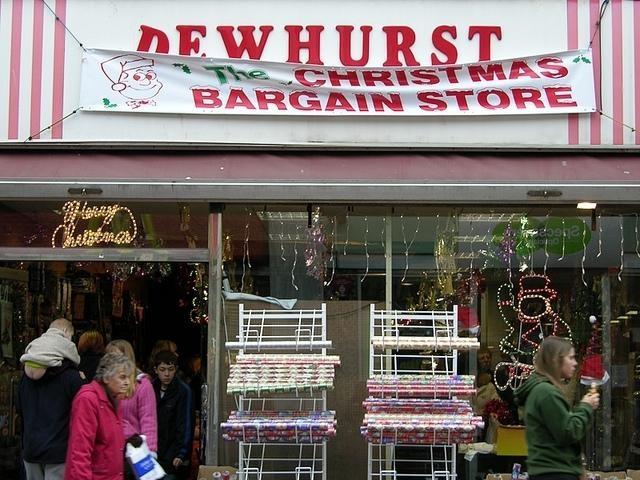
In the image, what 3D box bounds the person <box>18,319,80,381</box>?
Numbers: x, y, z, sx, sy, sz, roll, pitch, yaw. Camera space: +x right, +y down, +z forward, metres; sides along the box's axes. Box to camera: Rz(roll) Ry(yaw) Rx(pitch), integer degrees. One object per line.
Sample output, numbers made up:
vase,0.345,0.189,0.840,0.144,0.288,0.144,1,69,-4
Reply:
person,-2.354,1.081,10.650,0.380,0.303,0.705,8,20,1
